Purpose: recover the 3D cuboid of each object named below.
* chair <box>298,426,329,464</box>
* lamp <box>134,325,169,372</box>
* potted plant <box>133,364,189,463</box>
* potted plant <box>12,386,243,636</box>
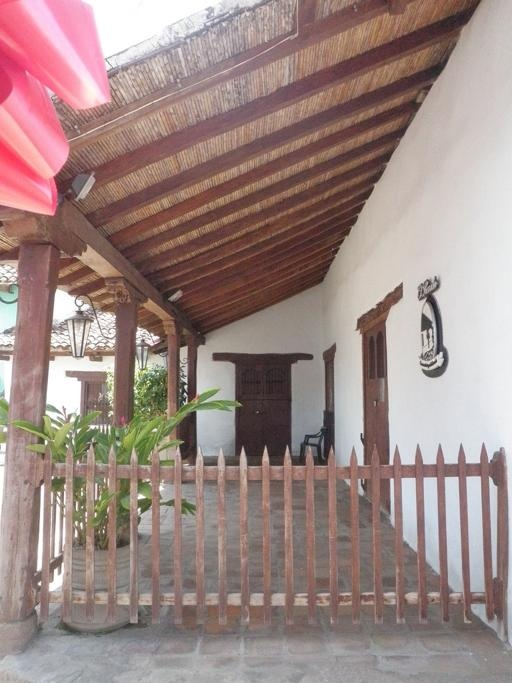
[{"bbox_3d":[1.037,1.908,9.755,0.460,0.626,1.322,-1,-6,8],"label":"chair"},{"bbox_3d":[-1.655,0.086,8.192,0.480,1.014,0.564,3,-12,-12],"label":"lamp"},{"bbox_3d":[-1.663,1.236,8.693,0.966,1.641,1.342,-8,3,-1],"label":"potted plant"},{"bbox_3d":[-0.868,0.807,2.910,0.954,1.033,0.997,4,-7,-37],"label":"potted plant"}]
